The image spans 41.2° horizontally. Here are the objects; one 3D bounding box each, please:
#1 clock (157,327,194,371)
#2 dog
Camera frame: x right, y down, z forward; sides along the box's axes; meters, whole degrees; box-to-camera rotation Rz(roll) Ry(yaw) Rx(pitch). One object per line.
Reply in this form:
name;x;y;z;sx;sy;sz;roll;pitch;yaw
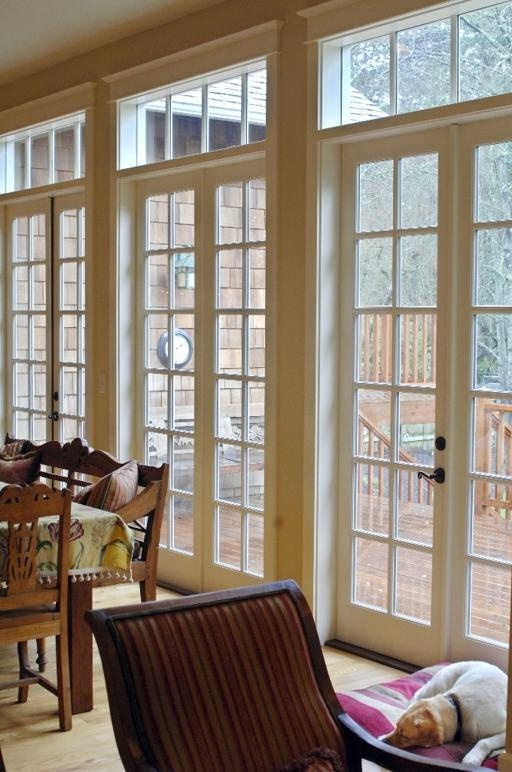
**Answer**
clock;-0.480;-0.219;4.074;0.231;0.238;0.055;-1;-2;41
dog;0.598;0.968;2.068;0.306;0.161;0.521;-1;-3;26
